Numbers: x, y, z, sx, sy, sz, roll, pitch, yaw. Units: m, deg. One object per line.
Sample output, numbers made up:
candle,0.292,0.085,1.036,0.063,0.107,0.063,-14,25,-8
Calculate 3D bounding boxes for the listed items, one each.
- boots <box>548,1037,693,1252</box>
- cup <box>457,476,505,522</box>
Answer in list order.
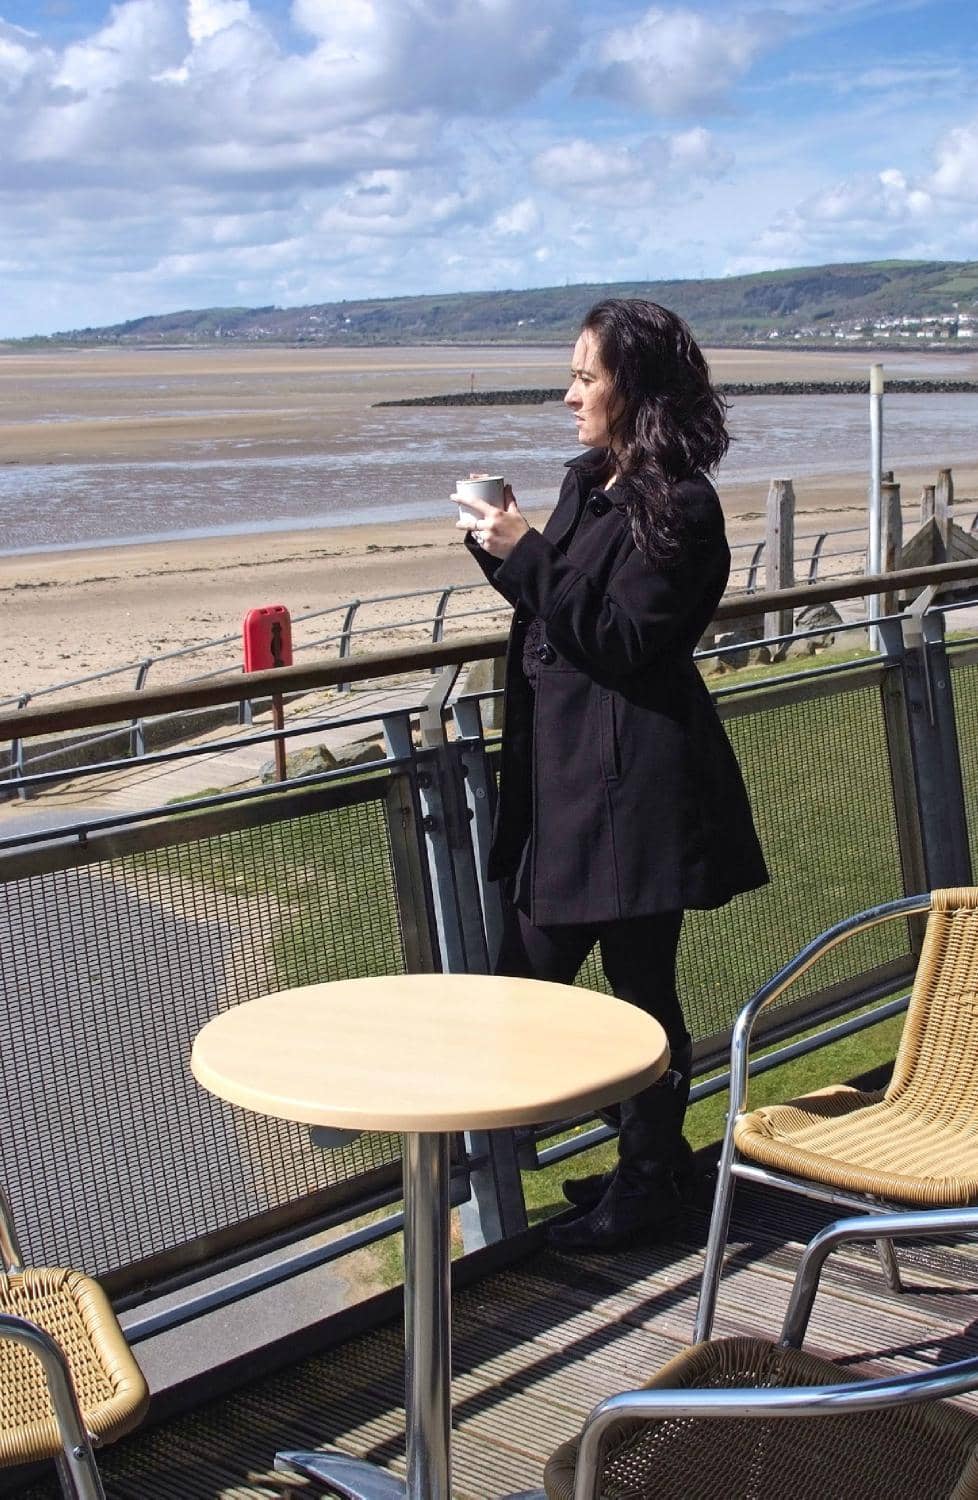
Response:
boots,0.288,0.891,2.635,0.337,0.434,0.246,-5,16,-3
cup,-0.023,-0.471,2.187,0.080,0.059,0.081,-1,11,0
